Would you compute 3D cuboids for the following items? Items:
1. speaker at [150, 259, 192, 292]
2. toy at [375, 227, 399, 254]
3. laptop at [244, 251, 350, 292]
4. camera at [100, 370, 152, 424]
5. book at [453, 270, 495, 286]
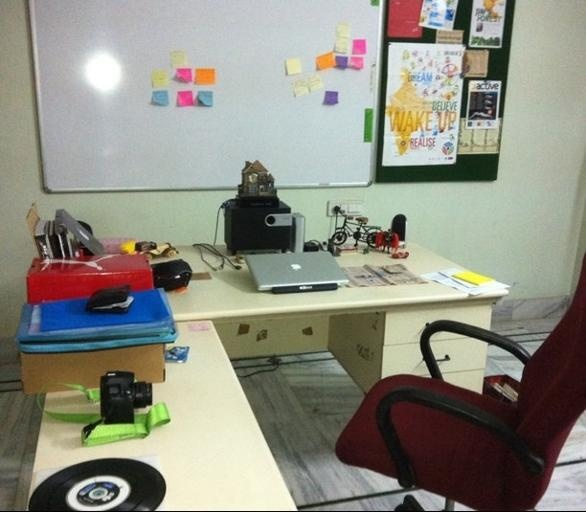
[{"bbox_3d":[-0.480,0.064,1.865,0.135,0.069,0.110,-9,26,-23],"label":"speaker"},{"bbox_3d":[0.484,-0.087,2.467,0.103,0.126,0.134,2,21,1],"label":"toy"},{"bbox_3d":[0.007,0.061,2.009,0.381,0.120,0.285,-7,16,-14],"label":"laptop"},{"bbox_3d":[-0.408,0.346,1.154,0.128,0.131,0.133,4,-6,-20],"label":"camera"},{"bbox_3d":[0.791,0.094,2.066,0.091,0.020,0.093,-5,17,-24],"label":"book"}]
